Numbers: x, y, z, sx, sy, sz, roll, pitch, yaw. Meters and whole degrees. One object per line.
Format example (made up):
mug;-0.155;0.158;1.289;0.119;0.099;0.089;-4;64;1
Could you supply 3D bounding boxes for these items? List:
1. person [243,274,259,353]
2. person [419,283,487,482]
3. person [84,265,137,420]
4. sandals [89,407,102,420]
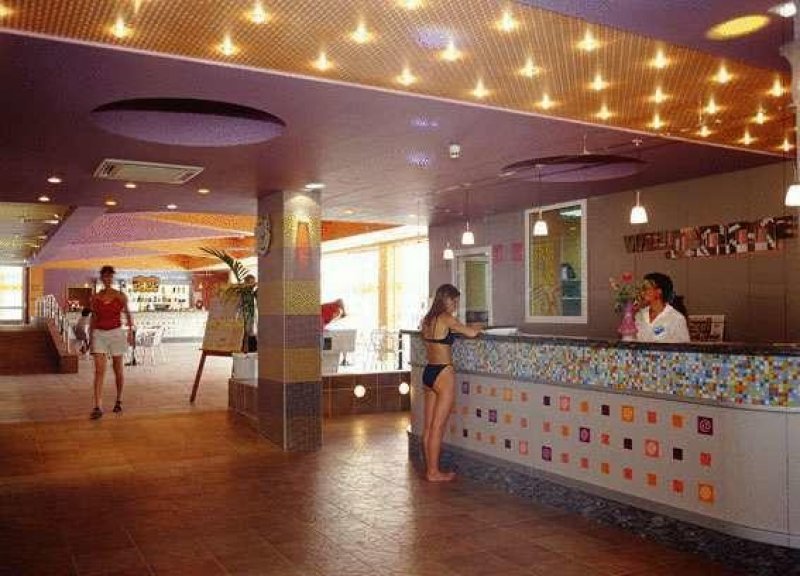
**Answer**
person;-2.445;0.407;9.352;0.173;1.260;0.467;0;-2;-17
person;0.499;0.969;5.897;0.567;2.007;0.331;-1;-2;14
person;-4.347;0.792;8.668;0.607;2.292;1.270;0;-2;-27
sandals;-4.555;1.852;8.573;0.136;0.135;0.320;2;5;-9
